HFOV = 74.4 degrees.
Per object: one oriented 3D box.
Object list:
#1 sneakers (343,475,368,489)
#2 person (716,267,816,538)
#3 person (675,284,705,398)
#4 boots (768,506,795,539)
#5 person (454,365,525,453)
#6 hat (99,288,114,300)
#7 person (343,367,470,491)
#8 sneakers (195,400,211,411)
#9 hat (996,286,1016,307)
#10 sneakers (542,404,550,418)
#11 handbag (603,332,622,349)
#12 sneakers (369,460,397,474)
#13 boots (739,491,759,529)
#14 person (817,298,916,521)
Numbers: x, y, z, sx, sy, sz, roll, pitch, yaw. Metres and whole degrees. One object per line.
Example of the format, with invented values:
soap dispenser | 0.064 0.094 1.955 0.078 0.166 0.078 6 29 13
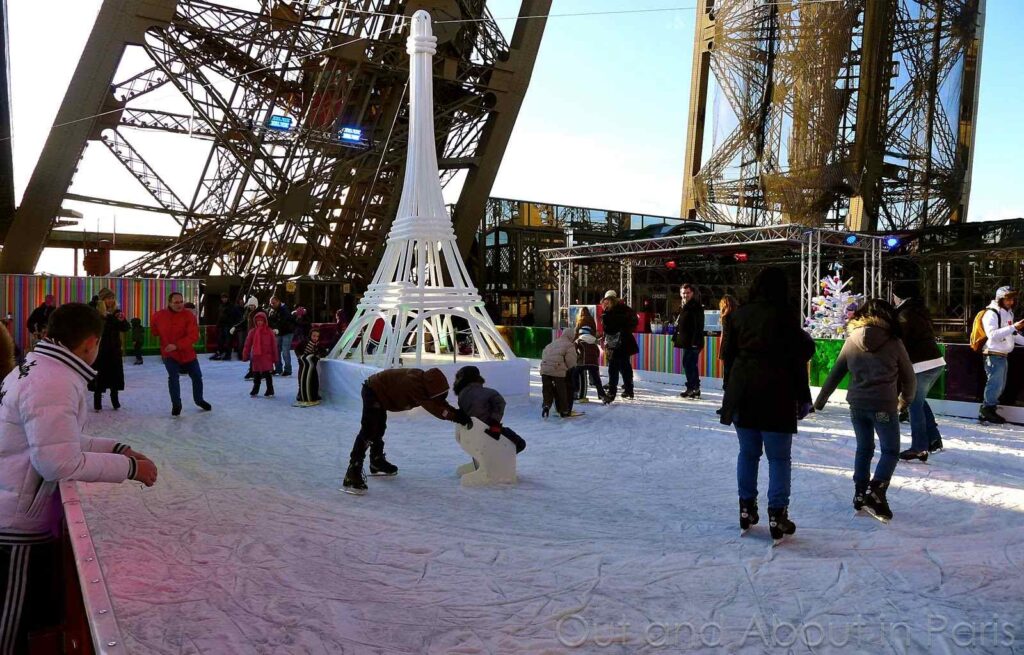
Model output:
sneakers | -1.785 1.739 7.658 0.258 0.253 0.161 0 0 0
person | 2.414 0.698 6.384 0.790 2.520 0.495 2 6 20
person | 3.715 0.270 14.129 0.537 2.340 1.469 2 6 15
boots | 2.553 1.792 6.350 0.150 0.297 0.432 -3 8 38
person | -0.293 1.045 8.329 0.701 1.225 0.716 -19 -6 35
hat | -7.987 -0.661 13.268 0.239 0.244 0.316 11 1 -18
person | -1.225 1.157 7.942 1.472 1.323 0.843 0 0 12
sneakers | -5.657 1.381 12.332 0.364 0.153 0.134 26 22 36
hat | 7.951 -0.499 10.869 0.231 0.311 0.612 4 7 35
sneakers | 0.600 1.462 12.078 0.149 0.199 0.355 0 6 1
handbag | 2.004 0.261 13.342 0.302 0.284 0.072 4 7 30
sneakers | -1.596 1.712 8.336 0.332 0.202 0.154 -2 2 -3
boots | 2.287 1.770 6.505 0.135 0.274 0.399 1 7 17
person | 3.707 0.804 7.006 0.560 2.201 0.696 -5 7 -37
